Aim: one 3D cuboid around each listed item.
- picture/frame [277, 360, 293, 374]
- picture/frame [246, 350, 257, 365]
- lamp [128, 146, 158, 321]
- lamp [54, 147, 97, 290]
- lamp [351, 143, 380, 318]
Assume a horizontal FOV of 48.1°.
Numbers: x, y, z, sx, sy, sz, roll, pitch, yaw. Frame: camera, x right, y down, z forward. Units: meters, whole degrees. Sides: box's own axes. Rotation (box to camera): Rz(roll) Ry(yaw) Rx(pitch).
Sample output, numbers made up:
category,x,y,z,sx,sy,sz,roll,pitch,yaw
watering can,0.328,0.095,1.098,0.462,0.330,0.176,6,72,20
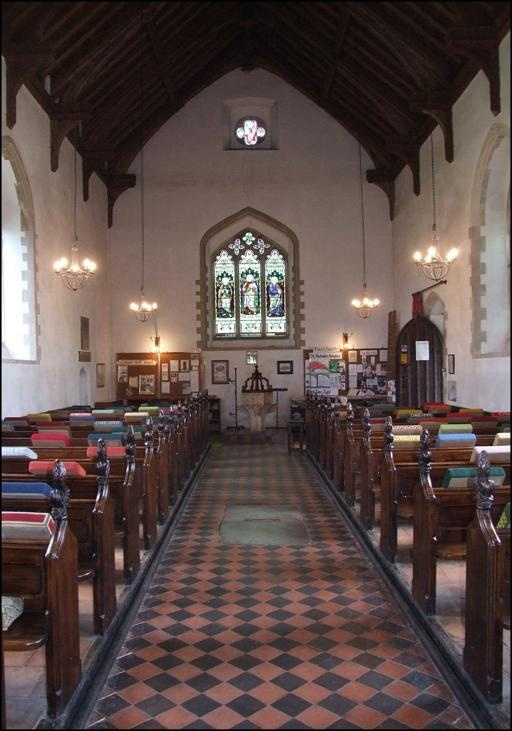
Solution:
category,x,y,z,sx,sy,sz,roll,pitch,yaw
picture/frame,0.691,0.032,14.001,0.264,0.286,0.030,-1,2,1
picture/frame,-0.114,-0.202,13.971,0.262,0.373,0.047,2,1,1
lamp,-2.742,-3.188,13.869,0.667,4.253,0.293,0,-1,-12
lamp,-3.363,-2.776,10.657,0.678,2.983,3.779,0,-2,-15
lamp,2.657,-3.314,14.029,0.647,4.282,0.307,0,-1,-16
